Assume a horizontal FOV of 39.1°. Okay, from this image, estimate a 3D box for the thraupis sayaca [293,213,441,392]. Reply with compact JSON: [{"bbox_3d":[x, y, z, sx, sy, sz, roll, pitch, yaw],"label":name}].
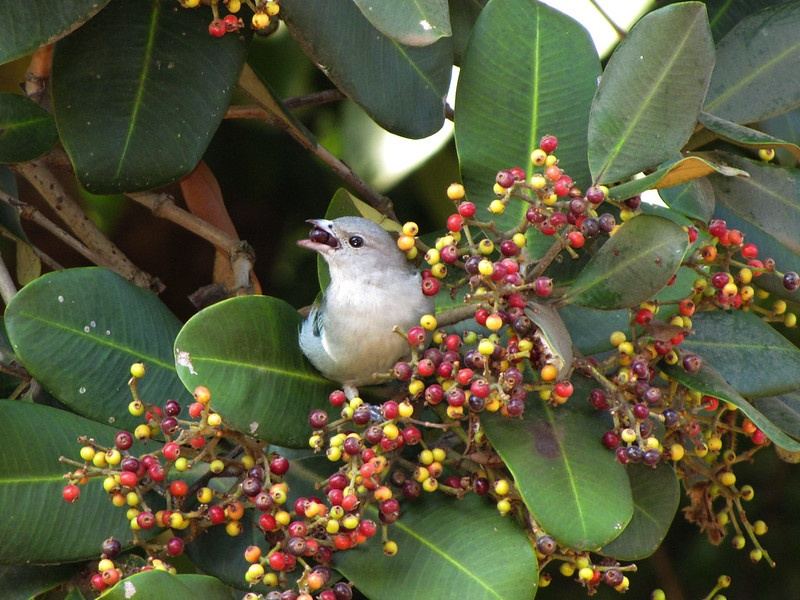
[{"bbox_3d":[-0.130,0.051,3.041,0.425,0.331,0.461,11,65,-6],"label":"thraupis sayaca"}]
